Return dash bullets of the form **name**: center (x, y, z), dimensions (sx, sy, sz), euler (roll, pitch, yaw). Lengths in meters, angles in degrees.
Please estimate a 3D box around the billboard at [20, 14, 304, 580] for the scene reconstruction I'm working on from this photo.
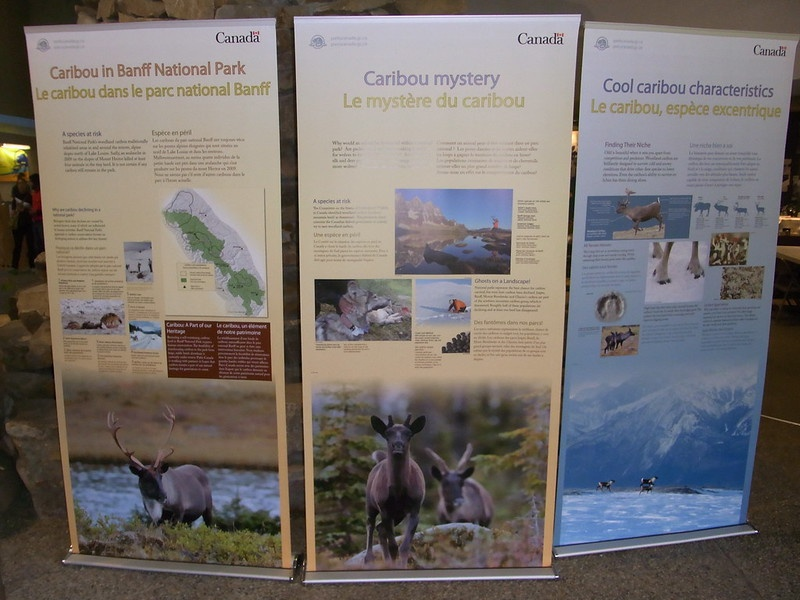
- **billboard**: center (-1.574, 0.026, 5.013), dimensions (1.668, 3.664, 0.545), euler (1, 13, 5)

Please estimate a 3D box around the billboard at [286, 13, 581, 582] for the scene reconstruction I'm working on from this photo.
- **billboard**: center (0.239, 0.040, 4.927), dimensions (1.800, 3.687, 0.542), euler (0, 13, -1)

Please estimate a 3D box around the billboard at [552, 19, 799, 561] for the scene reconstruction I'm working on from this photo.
- **billboard**: center (1.855, -0.098, 5.118), dimensions (1.489, 3.447, 0.603), euler (1, 13, 4)
